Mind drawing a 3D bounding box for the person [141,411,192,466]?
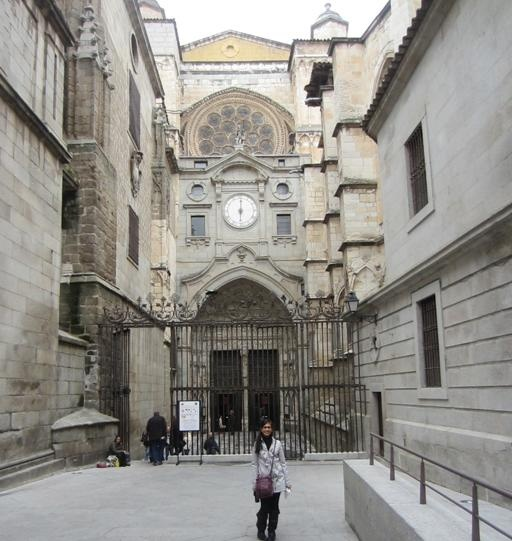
[{"bbox_3d":[-2.655,4.710,15.791,0.930,1.351,3.170,2,-17,-12],"label":"person"}]

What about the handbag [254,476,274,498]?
[{"bbox_3d":[0.083,2.348,6.080,0.236,0.335,0.176,-2,-24,2],"label":"handbag"}]

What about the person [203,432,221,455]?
[{"bbox_3d":[-1.322,5.143,16.682,0.351,0.610,1.652,1,-17,-7],"label":"person"}]

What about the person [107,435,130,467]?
[{"bbox_3d":[-3.514,4.663,14.486,0.523,0.717,1.349,1,-16,-8],"label":"person"}]
